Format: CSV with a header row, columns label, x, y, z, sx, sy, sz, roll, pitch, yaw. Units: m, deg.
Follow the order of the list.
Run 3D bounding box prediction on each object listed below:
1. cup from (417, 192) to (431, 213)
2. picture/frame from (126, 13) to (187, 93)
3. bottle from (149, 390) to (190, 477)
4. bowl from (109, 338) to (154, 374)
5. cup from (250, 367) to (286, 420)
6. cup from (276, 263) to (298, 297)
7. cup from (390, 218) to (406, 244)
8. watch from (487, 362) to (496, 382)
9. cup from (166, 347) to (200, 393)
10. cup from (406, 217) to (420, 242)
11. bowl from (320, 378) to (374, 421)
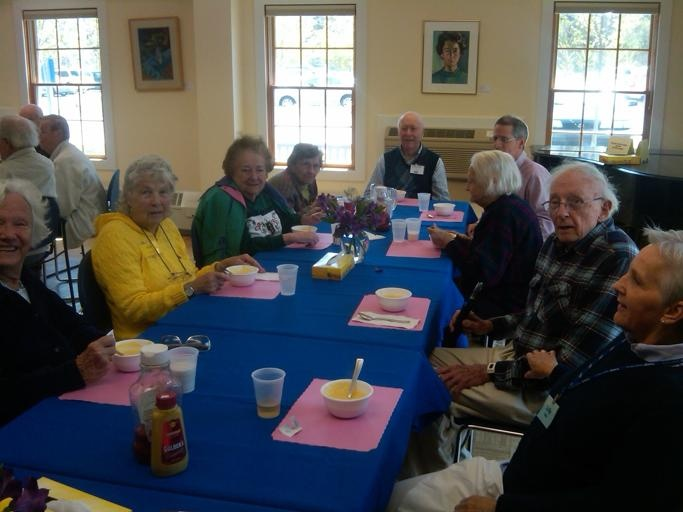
label,x,y,z,sx,sy,sz,roll,pitch,yaw
cup,0.669,-0.449,4.237,0.151,0.160,0.154,0,4,0
picture/frame,-2.433,-2.670,6.784,0.721,0.884,0.082,4,16,15
bottle,-0.420,0.421,1.236,0.087,0.210,0.065,-5,16,-18
bowl,-0.707,0.324,1.748,0.155,0.073,0.158,1,10,0
cup,-0.206,0.387,1.468,0.117,0.128,0.121,1,2,0
cup,-0.245,0.119,2.403,0.123,0.138,0.122,-1,0,0
cup,0.368,-0.165,3.315,0.125,0.125,0.108,3,8,5
watch,0.637,0.498,2.187,0.030,0.064,0.048,6,-1,16
cup,-0.480,0.342,1.570,0.118,0.125,0.115,1,1,0
cup,0.469,-0.184,3.346,0.119,0.146,0.120,2,-5,0
bowl,0.022,0.420,1.500,0.152,0.070,0.153,1,8,0
